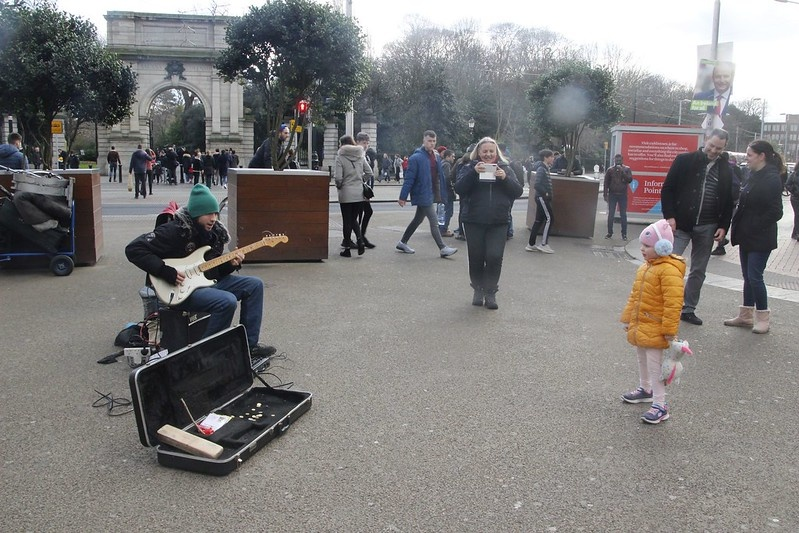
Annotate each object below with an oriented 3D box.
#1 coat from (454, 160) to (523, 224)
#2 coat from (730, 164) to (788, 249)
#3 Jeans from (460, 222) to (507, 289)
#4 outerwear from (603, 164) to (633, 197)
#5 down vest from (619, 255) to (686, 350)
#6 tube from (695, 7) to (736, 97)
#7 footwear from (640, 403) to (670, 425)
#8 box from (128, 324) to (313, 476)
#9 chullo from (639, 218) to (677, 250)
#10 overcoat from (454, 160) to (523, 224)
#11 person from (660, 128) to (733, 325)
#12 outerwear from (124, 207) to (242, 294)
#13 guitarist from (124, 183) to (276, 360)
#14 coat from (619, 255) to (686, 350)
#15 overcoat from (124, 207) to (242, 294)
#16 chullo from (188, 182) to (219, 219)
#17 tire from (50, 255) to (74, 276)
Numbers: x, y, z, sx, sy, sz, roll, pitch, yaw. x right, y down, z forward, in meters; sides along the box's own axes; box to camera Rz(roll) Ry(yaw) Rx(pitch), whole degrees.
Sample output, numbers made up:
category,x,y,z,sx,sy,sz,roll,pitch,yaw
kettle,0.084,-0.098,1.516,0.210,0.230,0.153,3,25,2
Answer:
category,x,y,z,sx,sy,sz,roll,pitch,yaw
coat,1.188,-0.873,8.964,1.089,1.109,0.792,1,-16,-2
coat,4.485,-0.745,7.969,0.533,1.032,0.593,9,17,28
Jeans,1.154,-0.113,8.685,0.551,0.931,0.331,2,15,6
outerwear,5.268,-2.043,15.624,0.892,1.074,0.640,1,-1,16
down vest,2.262,0.328,5.684,0.478,0.813,0.389,10,17,32
tube,11.399,-7.903,23.071,1.130,3.756,4.010,8,16,24
footwear,2.227,1.287,5.597,0.284,0.141,0.111,-4,10,-14
box,-1.442,1.045,5.172,0.710,0.789,1.145,8,16,25
chullo,2.318,-0.285,5.816,0.306,0.284,0.221,-11,-5,11
overcoat,1.132,-0.877,8.951,1.089,1.109,0.792,1,-16,-2
person,3.862,-0.567,8.359,0.867,2.474,0.641,10,12,28
outerwear,-2.198,-0.223,6.393,0.414,0.680,0.986,11,18,33
guitarist,-1.972,-0.011,6.355,1.215,1.959,0.553,-20,7,-25
coat,2.262,0.328,5.684,0.478,0.813,0.389,10,17,32
overcoat,-2.198,-0.223,6.393,0.414,0.680,0.986,11,18,33
chullo,-1.965,-0.644,6.363,0.346,0.331,0.262,-3,13,8
tire,-5.211,-0.021,9.856,0.302,0.311,0.118,1,4,-11
